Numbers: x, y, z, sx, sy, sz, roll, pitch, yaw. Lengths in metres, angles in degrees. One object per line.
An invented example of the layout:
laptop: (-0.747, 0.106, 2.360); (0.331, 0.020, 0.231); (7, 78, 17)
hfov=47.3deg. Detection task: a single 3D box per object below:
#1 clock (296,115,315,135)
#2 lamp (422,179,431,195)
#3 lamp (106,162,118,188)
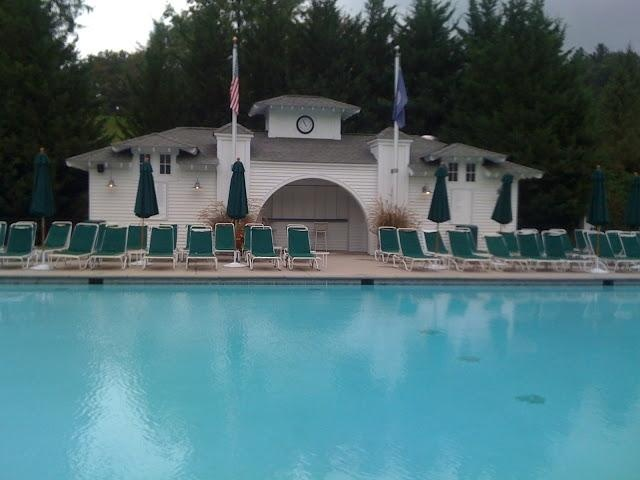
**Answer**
clock: (-0.599, -4.620, 29.132); (0.656, 0.754, 0.141); (-2, 4, -17)
lamp: (3.967, -1.980, 27.317); (0.371, 0.788, 0.400); (2, -1, -3)
lamp: (-7.323, -2.177, 25.590); (0.375, 0.753, 0.325); (5, 12, 19)
